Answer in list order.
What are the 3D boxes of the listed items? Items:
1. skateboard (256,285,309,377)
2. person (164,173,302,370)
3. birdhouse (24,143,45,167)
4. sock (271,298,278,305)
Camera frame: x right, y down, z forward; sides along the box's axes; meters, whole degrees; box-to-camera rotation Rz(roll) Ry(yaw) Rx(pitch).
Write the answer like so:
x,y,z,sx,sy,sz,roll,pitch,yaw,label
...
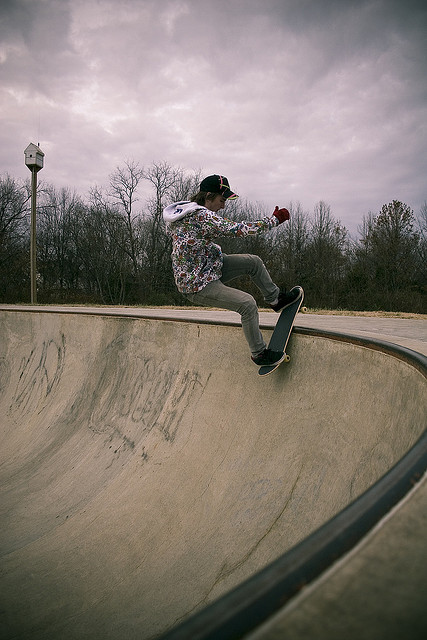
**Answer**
x,y,z,sx,sy,sz,roll,pitch,yaw,label
0.451,0.160,3.137,0.134,0.087,0.599,-23,16,29,skateboard
0.181,-0.360,3.520,0.859,1.346,0.863,-5,9,5,person
-5.610,-5.232,15.687,0.590,0.673,0.623,-3,-6,-43,birdhouse
0.435,-0.127,3.537,0.030,0.024,0.031,-28,5,-3,sock
